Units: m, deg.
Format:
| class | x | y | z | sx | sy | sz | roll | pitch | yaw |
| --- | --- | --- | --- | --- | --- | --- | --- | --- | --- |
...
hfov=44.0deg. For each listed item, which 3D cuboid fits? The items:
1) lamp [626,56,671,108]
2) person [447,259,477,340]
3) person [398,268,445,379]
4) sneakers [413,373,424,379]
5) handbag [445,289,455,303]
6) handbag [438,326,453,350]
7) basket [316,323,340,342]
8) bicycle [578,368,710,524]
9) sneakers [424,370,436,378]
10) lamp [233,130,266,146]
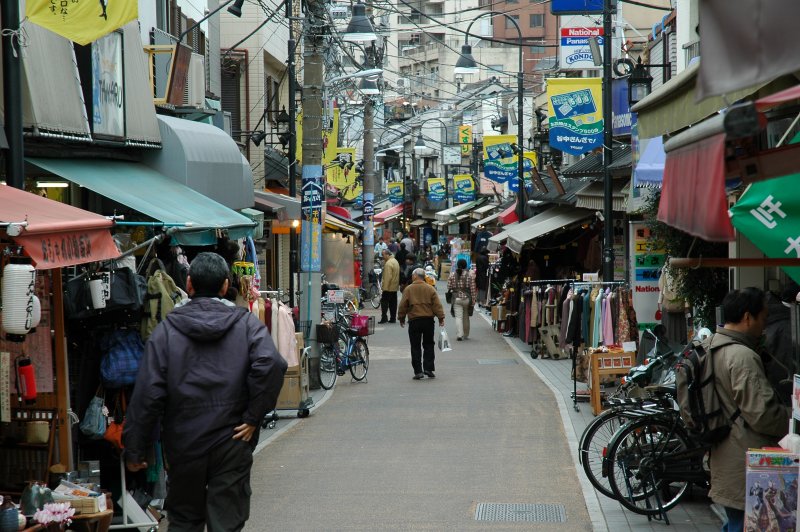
| class | x | y | z | sx | sy | sz | roll | pitch | yaw |
| --- | --- | --- | --- | --- | --- | --- | --- | --- | --- |
| lamp | 4.707 | -3.494 | 18.836 | 0.784 | 1.236 | 0.263 | 3 | -25 | 11 |
| person | 1.756 | 0.858 | 27.591 | 0.800 | 2.330 | 0.810 | 8 | 21 | 25 |
| person | 0.433 | 1.166 | 20.457 | 0.892 | 2.009 | 1.022 | -2 | 0 | 2 |
| sneakers | 0.382 | 2.230 | 20.162 | 0.194 | 0.139 | 0.235 | -2 | 0 | 0 |
| handbag | 1.634 | 0.977 | 32.548 | 0.351 | 0.745 | 0.487 | 0 | -1 | 4 |
| handbag | 1.119 | 1.790 | 24.445 | 0.277 | 0.912 | 0.787 | -3 | -2 | -3 |
| basket | -1.386 | 1.261 | 18.648 | 0.267 | 0.386 | 0.506 | -1 | 1 | -6 |
| bicycle | 2.578 | 2.051 | 11.099 | 1.788 | 1.355 | 0.974 | -5 | 4 | -16 |
| sneakers | 0.612 | 2.222 | 20.327 | 0.274 | 0.142 | 0.102 | -1 | 0 | 6 |
| lamp | -4.812 | -4.232 | 31.847 | 1.224 | 0.388 | 1.315 | 0 | 1 | 1 |
